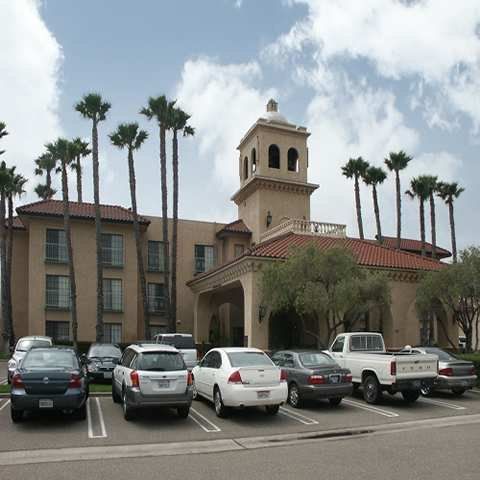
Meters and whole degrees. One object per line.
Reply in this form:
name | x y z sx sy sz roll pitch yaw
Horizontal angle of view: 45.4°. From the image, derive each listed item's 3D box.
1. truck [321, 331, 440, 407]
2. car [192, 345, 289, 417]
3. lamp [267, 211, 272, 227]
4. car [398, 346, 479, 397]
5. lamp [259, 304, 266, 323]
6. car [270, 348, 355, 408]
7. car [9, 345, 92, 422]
truck | 4.000 3.639 17.242 1.420 1.869 3.454 5 -7 -20
car | -0.207 3.403 14.867 1.113 1.341 2.903 2 -7 -16
lamp | 1.783 -1.279 34.852 0.317 0.946 0.811 0 1 3
car | 6.237 4.368 18.678 1.098 1.244 2.910 1 -5 -16
lamp | 0.943 3.057 23.986 0.212 0.774 0.385 1 1 36
car | 1.830 3.775 16.333 0.942 1.178 2.573 1 -6 -15
car | -4.458 3.509 13.346 1.771 1.635 1.850 0 1 -37
